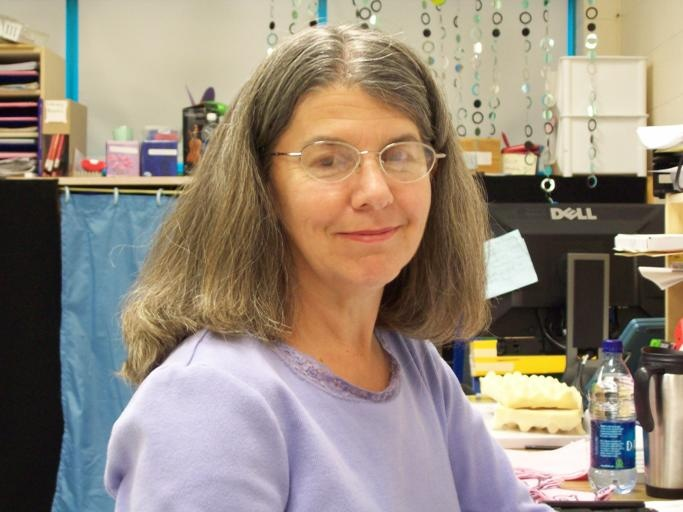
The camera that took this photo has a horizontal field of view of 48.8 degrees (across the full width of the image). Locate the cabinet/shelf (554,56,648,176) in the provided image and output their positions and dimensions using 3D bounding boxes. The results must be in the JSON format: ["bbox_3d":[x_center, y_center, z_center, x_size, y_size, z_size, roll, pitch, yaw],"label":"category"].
[{"bbox_3d":[1.595,-0.882,4.980,0.632,0.944,0.664,0,0,-2],"label":"cabinet/shelf"}]

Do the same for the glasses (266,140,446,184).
[{"bbox_3d":[0.050,-0.233,1.891,0.439,0.105,0.125,-1,3,-6],"label":"glasses"}]

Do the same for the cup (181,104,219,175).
[{"bbox_3d":[-0.724,-0.628,3.962,0.203,0.367,0.170,-6,20,-29],"label":"cup"}]

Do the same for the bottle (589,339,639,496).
[{"bbox_3d":[0.871,0.506,2.416,0.144,0.465,0.293,0,3,19],"label":"bottle"}]
